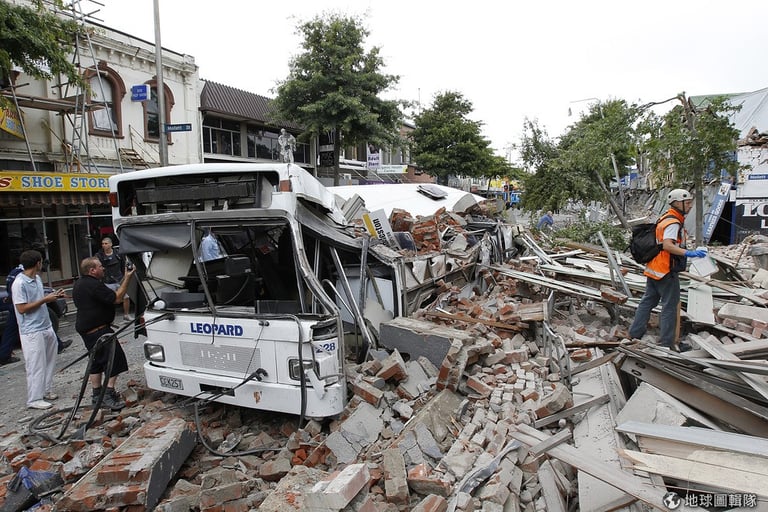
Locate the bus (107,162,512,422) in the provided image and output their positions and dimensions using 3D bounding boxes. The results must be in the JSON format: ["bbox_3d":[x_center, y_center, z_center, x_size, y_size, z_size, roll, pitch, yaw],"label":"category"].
[{"bbox_3d":[-0.653,0.269,10.538,4.593,3.562,8.139,0,6,31],"label":"bus"}]

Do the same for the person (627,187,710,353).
[{"bbox_3d":[4.592,0.208,8.109,0.968,2.559,1.040,6,12,27],"label":"person"}]

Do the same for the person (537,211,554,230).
[{"bbox_3d":[6.397,-1.426,19.332,0.513,0.730,1.945,4,10,18],"label":"person"}]

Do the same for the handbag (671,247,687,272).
[{"bbox_3d":[4.807,0.123,7.937,0.321,0.292,0.108,-4,12,-24],"label":"handbag"}]

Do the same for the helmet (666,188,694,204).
[{"bbox_3d":[4.936,-0.999,8.182,0.349,0.204,0.291,2,12,18],"label":"helmet"}]

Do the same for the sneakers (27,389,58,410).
[{"bbox_3d":[-5.582,2.432,8.133,0.510,0.213,0.170,0,5,2],"label":"sneakers"}]

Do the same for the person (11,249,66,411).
[{"bbox_3d":[-5.680,1.213,8.095,0.633,2.563,0.823,-6,13,-32],"label":"person"}]
